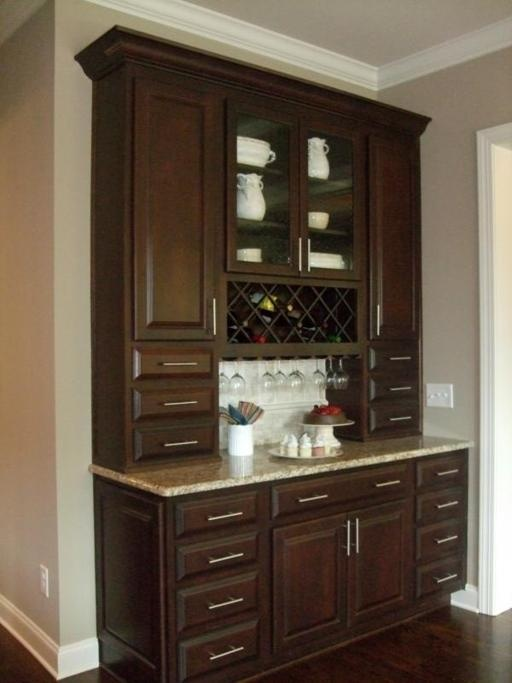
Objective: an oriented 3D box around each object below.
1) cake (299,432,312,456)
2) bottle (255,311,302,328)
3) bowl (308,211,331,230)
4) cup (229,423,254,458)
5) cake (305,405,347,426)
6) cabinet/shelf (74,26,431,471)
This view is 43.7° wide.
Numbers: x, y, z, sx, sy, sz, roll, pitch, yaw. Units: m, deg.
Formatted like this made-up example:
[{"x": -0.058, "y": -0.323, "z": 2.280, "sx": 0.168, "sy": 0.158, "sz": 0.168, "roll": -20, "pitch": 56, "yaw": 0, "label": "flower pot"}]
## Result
[{"x": 0.204, "y": 0.430, "z": 2.676, "sx": 0.071, "sy": 0.100, "sz": 0.071, "roll": 0, "pitch": -7, "yaw": 19, "label": "cake"}, {"x": 0.110, "y": -0.099, "z": 2.779, "sx": 0.237, "sy": 0.064, "sz": 0.067, "roll": -1, "pitch": 5, "yaw": -38, "label": "bottle"}, {"x": 0.280, "y": -0.540, "z": 2.851, "sx": 0.091, "sy": 0.059, "sz": 0.086, "roll": -2, "pitch": 3, "yaw": 0, "label": "bowl"}, {"x": -0.063, "y": 0.410, "z": 2.675, "sx": 0.129, "sy": 0.132, "sz": 0.127, "roll": 0, "pitch": 0, "yaw": 0, "label": "cup"}, {"x": 0.333, "y": 0.345, "z": 2.989, "sx": 0.120, "sy": 0.050, "sz": 0.115, "roll": 1, "pitch": -3, "yaw": -28, "label": "cake"}, {"x": 0.099, "y": -0.297, "z": 2.933, "sx": 1.766, "sy": 1.583, "sz": 0.420, "roll": -2, "pitch": 4, "yaw": -37, "label": "cabinet/shelf"}]
